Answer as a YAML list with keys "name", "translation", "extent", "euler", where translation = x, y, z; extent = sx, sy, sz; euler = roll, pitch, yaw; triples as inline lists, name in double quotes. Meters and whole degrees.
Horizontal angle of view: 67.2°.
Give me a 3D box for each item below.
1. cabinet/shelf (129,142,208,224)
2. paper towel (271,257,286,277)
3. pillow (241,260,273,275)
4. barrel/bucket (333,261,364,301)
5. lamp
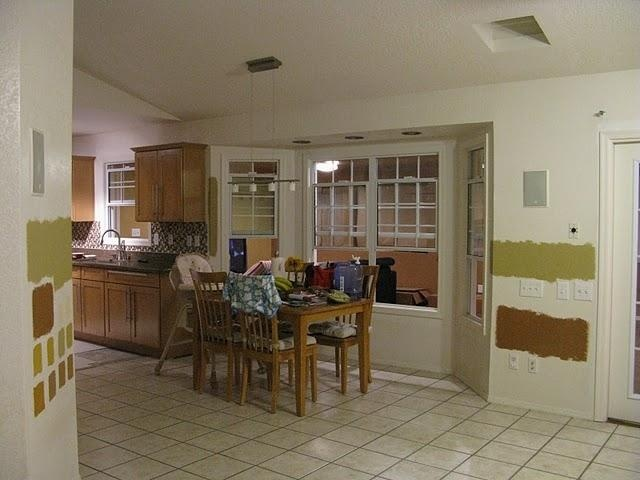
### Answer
- name: "cabinet/shelf"
  translation: [-2.038, -0.778, 6.613]
  extent: [1.100, 1.135, 0.515]
  euler: [-1, -2, 30]
- name: "paper towel"
  translation: [-0.460, 0.297, 5.362]
  extent: [0.182, 0.217, 0.186]
  euler: [-1, 0, -15]
- name: "pillow"
  translation: [-0.697, 0.334, 5.705]
  extent: [0.242, 0.079, 0.242]
  euler: [-25, 3, -31]
- name: "barrel/bucket"
  translation: [0.281, 0.406, 4.990]
  extent: [0.372, 0.408, 0.227]
  euler: [-2, -1, 28]
- name: "lamp"
  translation: [-0.702, -1.444, 5.911]
  extent: [1.267, 1.820, 0.454]
  euler: [-1, -5, -2]
